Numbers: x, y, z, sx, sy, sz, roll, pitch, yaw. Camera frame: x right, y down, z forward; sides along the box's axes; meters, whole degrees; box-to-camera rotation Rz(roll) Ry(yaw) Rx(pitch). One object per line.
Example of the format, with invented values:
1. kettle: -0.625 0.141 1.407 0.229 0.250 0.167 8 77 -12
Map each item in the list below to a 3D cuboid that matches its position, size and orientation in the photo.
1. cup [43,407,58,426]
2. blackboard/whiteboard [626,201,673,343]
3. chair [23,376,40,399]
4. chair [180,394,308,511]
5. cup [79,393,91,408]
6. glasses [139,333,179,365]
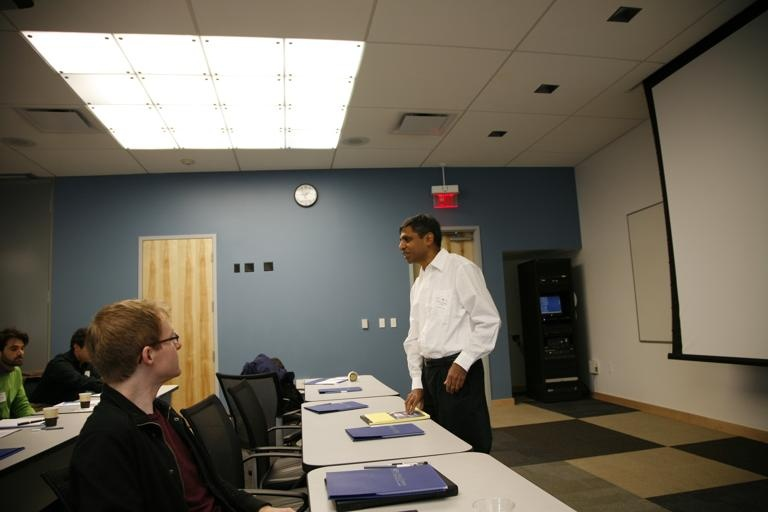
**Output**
1. cup: -2.742 1.316 4.148 0.128 0.145 0.131 -2 -11 0
2. blackboard/whiteboard: 3.715 0.246 7.062 0.139 1.957 0.776 -2 2 -10
3. chair: -4.070 1.523 5.792 0.189 0.256 0.200 5 -9 -38
4. chair: -0.964 1.453 3.882 0.827 1.213 0.780 -2 -12 1
5. cup: -2.815 1.359 4.738 0.119 0.098 0.124 -2 -12 0
6. glasses: -1.340 0.536 3.027 0.160 0.046 0.162 -29 6 -21
